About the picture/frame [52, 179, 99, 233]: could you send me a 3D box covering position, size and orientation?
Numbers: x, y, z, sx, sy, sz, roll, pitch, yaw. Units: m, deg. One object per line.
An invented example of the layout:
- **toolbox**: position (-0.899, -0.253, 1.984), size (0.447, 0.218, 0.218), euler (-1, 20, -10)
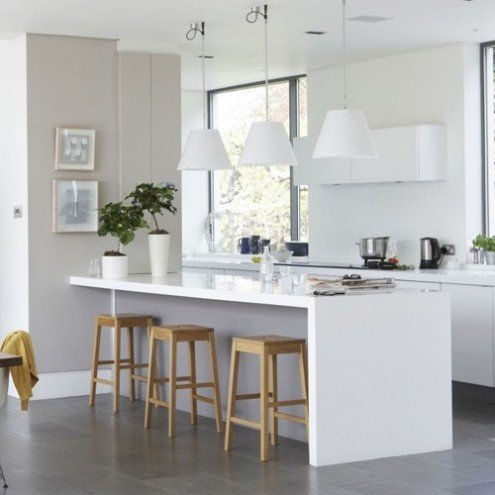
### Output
- **picture/frame**: position (-1.554, -0.383, 4.840), size (0.480, 0.618, 0.061), euler (0, 1, -31)

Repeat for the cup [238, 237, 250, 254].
- **cup**: position (-0.040, -0.013, 7.548), size (0.097, 0.237, 0.254), euler (3, -7, -35)

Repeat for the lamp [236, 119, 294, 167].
- **lamp**: position (0.118, -0.651, 3.536), size (0.310, 0.211, 0.302), euler (-1, 1, -44)

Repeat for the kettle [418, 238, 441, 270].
- **kettle**: position (1.802, 0.072, 5.344), size (0.230, 0.335, 0.192), euler (-9, -21, 32)

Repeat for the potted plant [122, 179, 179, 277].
- **potted plant**: position (-0.767, -0.140, 4.613), size (0.423, 0.764, 0.427), euler (-3, 0, -24)

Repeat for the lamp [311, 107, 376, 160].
- **lamp**: position (0.575, -0.646, 3.214), size (0.399, 0.297, 0.422), euler (1, 3, 40)

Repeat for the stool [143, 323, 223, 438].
- **stool**: position (-0.469, 0.857, 3.607), size (0.473, 0.619, 0.478), euler (1, -7, 39)

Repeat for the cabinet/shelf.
- **cabinet/shelf**: position (1.270, -0.999, 5.982), size (0.463, 0.592, 1.678), euler (-14, 12, -35)

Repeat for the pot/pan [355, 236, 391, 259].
- **pot/pan**: position (1.339, 0.015, 5.709), size (0.307, 0.271, 0.333), euler (-2, -6, 14)

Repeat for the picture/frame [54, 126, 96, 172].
- **picture/frame**: position (-1.553, -0.886, 4.838), size (0.413, 0.463, 0.061), euler (0, 0, -28)

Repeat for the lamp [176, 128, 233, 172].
- **lamp**: position (-0.323, -0.660, 3.974), size (0.322, 0.248, 0.333), euler (-2, -1, 42)
